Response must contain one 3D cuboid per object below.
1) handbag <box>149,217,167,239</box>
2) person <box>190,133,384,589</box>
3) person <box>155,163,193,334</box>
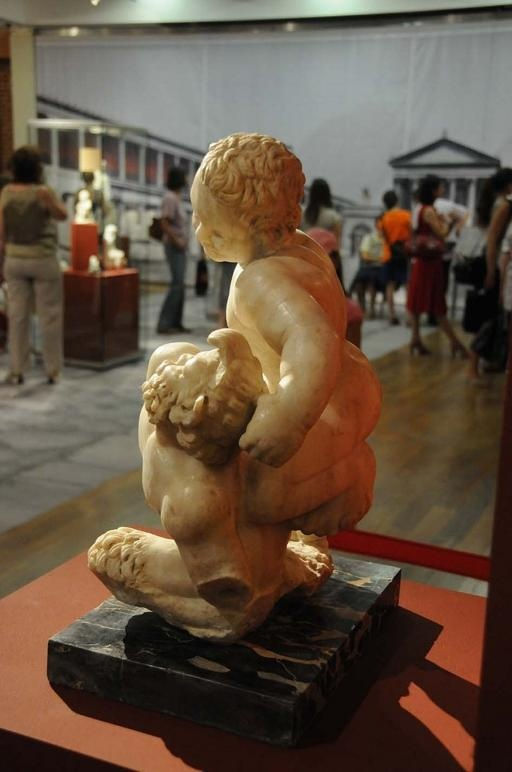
[{"bbox_3d":[-0.408,-0.651,2.944,0.070,0.110,0.072,12,52,6],"label":"handbag"},{"bbox_3d":[0.049,-0.057,1.494,0.433,0.926,0.636,5,8,9],"label":"person"},{"bbox_3d":[-0.342,-0.551,2.984,0.123,0.687,0.288,3,8,-6],"label":"person"}]
